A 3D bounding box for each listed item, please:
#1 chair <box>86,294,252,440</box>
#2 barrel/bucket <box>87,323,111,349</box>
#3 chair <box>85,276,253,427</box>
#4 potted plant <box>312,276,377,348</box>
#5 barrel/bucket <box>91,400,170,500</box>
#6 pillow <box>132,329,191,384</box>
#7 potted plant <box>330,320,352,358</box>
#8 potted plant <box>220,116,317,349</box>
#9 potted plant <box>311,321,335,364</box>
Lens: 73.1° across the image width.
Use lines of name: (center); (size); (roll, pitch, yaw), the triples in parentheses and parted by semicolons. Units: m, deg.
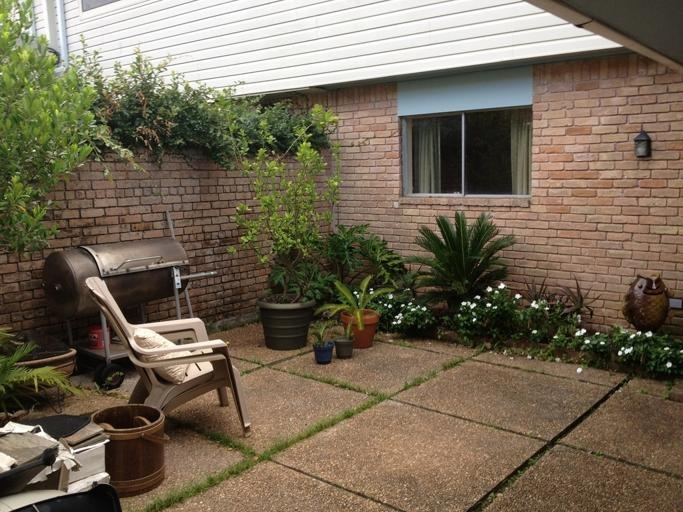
chair: (-1.455, 0.895, 3.995); (1.362, 1.118, 1.115); (1, 6, -43)
barrel/bucket: (-2.681, 0.874, 5.093); (0.267, 0.271, 0.268); (0, 2, 0)
chair: (-1.404, 0.853, 4.292); (1.590, 1.401, 1.209); (-3, 11, -26)
potted plant: (0.125, 0.754, 6.164); (0.955, 0.610, 0.908); (-2, 3, -6)
barrel/bucket: (-1.478, 1.353, 3.362); (0.559, 0.449, 0.558); (0, 4, 0)
pillow: (-1.438, 0.802, 3.729); (0.391, 0.462, 0.361); (-4, 10, -18)
potted plant: (0.044, 1.032, 5.717); (0.289, 0.431, 0.288); (-1, 3, -15)
potted plant: (-0.813, -0.366, 6.427); (1.118, 2.947, 1.800); (-2, 10, -7)
potted plant: (-0.232, 1.031, 5.527); (0.261, 0.485, 0.265); (10, 4, 36)
